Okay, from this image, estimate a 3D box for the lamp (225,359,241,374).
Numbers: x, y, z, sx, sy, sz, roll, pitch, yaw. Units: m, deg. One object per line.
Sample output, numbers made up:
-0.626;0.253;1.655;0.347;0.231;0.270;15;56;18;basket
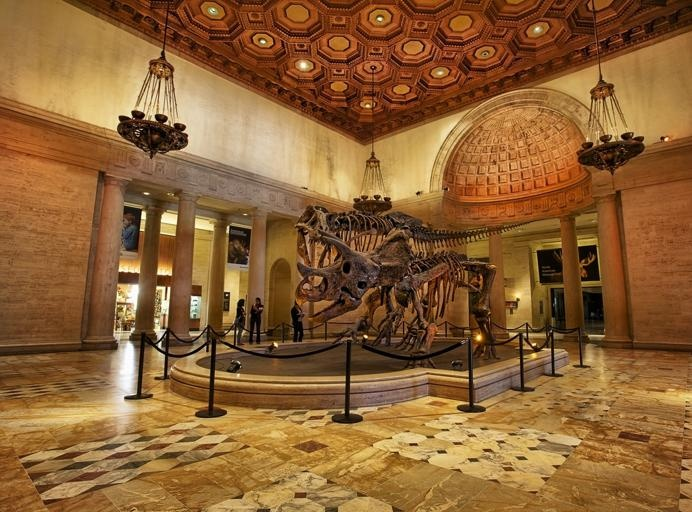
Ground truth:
-1.850;1.836;6.877;0.219;0.213;0.550;0;3;-16;lamp
